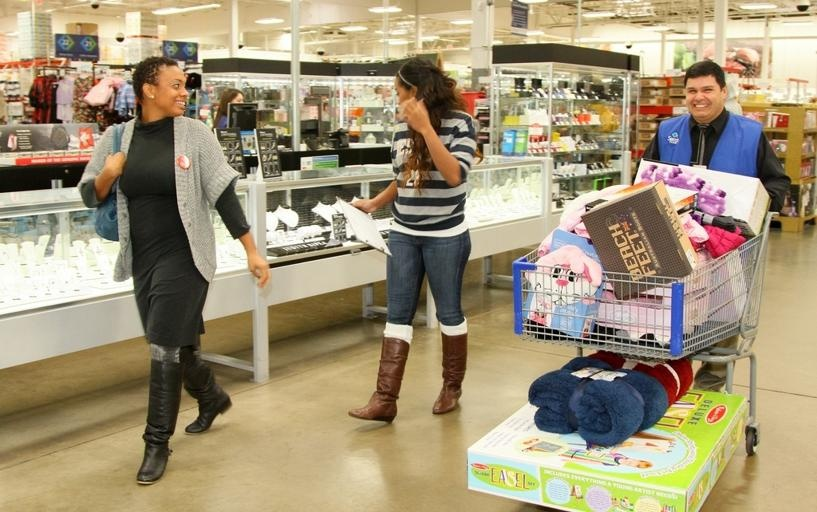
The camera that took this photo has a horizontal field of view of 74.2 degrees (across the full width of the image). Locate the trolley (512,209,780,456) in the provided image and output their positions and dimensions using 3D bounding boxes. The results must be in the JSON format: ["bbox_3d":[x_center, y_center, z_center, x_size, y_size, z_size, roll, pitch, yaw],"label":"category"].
[{"bbox_3d":[1.010,0.291,2.700,1.472,1.142,0.902,2,10,-19],"label":"trolley"}]

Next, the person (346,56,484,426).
[{"bbox_3d":[0.036,-0.059,3.422,0.797,2.312,0.568,-2,14,-5],"label":"person"}]

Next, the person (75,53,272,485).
[{"bbox_3d":[-1.302,0.049,3.007,0.777,2.239,0.618,-9,17,-30],"label":"person"}]
